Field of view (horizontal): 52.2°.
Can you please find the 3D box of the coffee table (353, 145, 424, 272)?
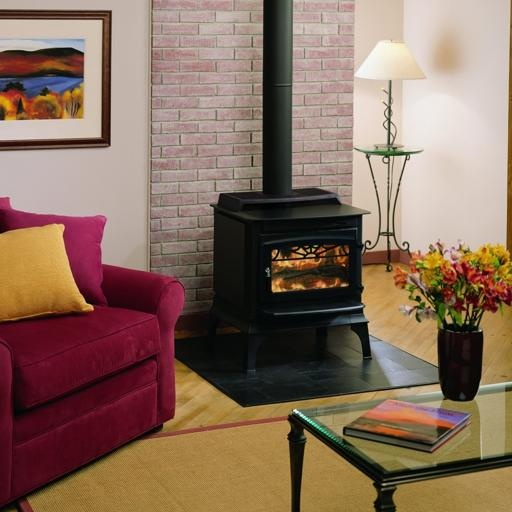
[{"bbox_3d":[1.192,-0.436,4.796,0.596,1.156,0.769,2,9,15],"label":"coffee table"}]
